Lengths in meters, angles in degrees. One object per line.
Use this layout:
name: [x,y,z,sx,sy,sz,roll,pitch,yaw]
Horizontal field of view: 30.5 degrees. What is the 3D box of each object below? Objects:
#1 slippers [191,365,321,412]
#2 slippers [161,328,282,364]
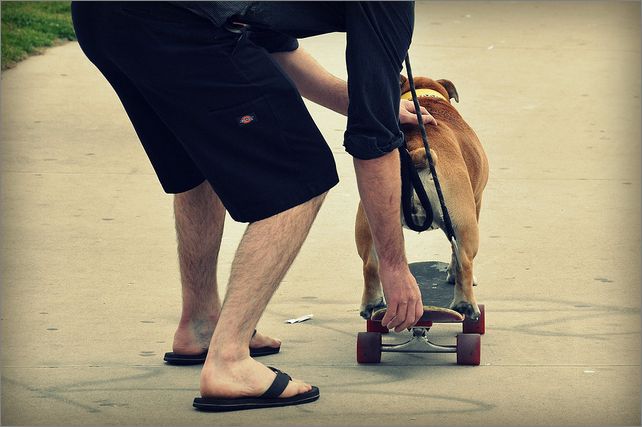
slippers: [-0.409,1.103,7.523,0.776,0.186,0.273,-1,-1,-14]
slippers: [-0.684,0.895,8.103,0.796,0.186,0.258,-4,-1,-10]
